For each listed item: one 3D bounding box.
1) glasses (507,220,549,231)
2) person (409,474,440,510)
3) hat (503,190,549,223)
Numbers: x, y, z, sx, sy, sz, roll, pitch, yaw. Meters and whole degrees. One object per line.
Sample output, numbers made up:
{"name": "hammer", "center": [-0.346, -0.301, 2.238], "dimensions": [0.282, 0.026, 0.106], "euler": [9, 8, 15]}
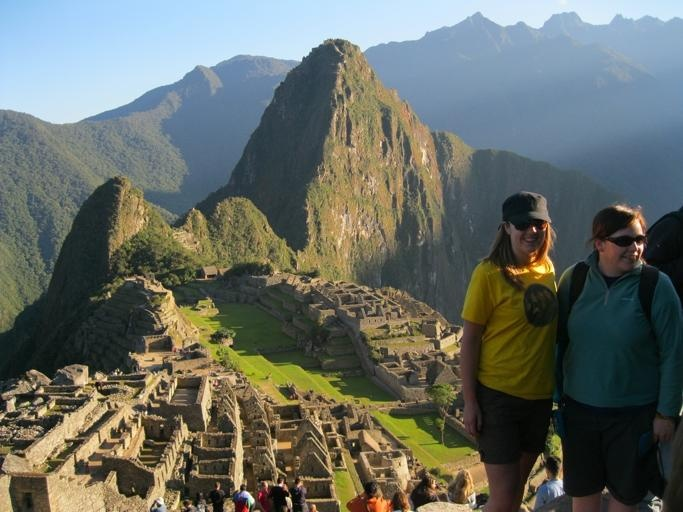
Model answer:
{"name": "glasses", "center": [2.172, -0.341, 6.699], "dimensions": [0.408, 0.129, 0.110], "euler": [-1, -3, -12]}
{"name": "person", "center": [1.549, 4.380, 10.868], "dimensions": [0.456, 0.564, 1.348], "euler": [-3, -5, 2]}
{"name": "hat", "center": [2.100, -0.560, 6.842], "dimensions": [0.359, 0.262, 0.481], "euler": [0, -2, -19]}
